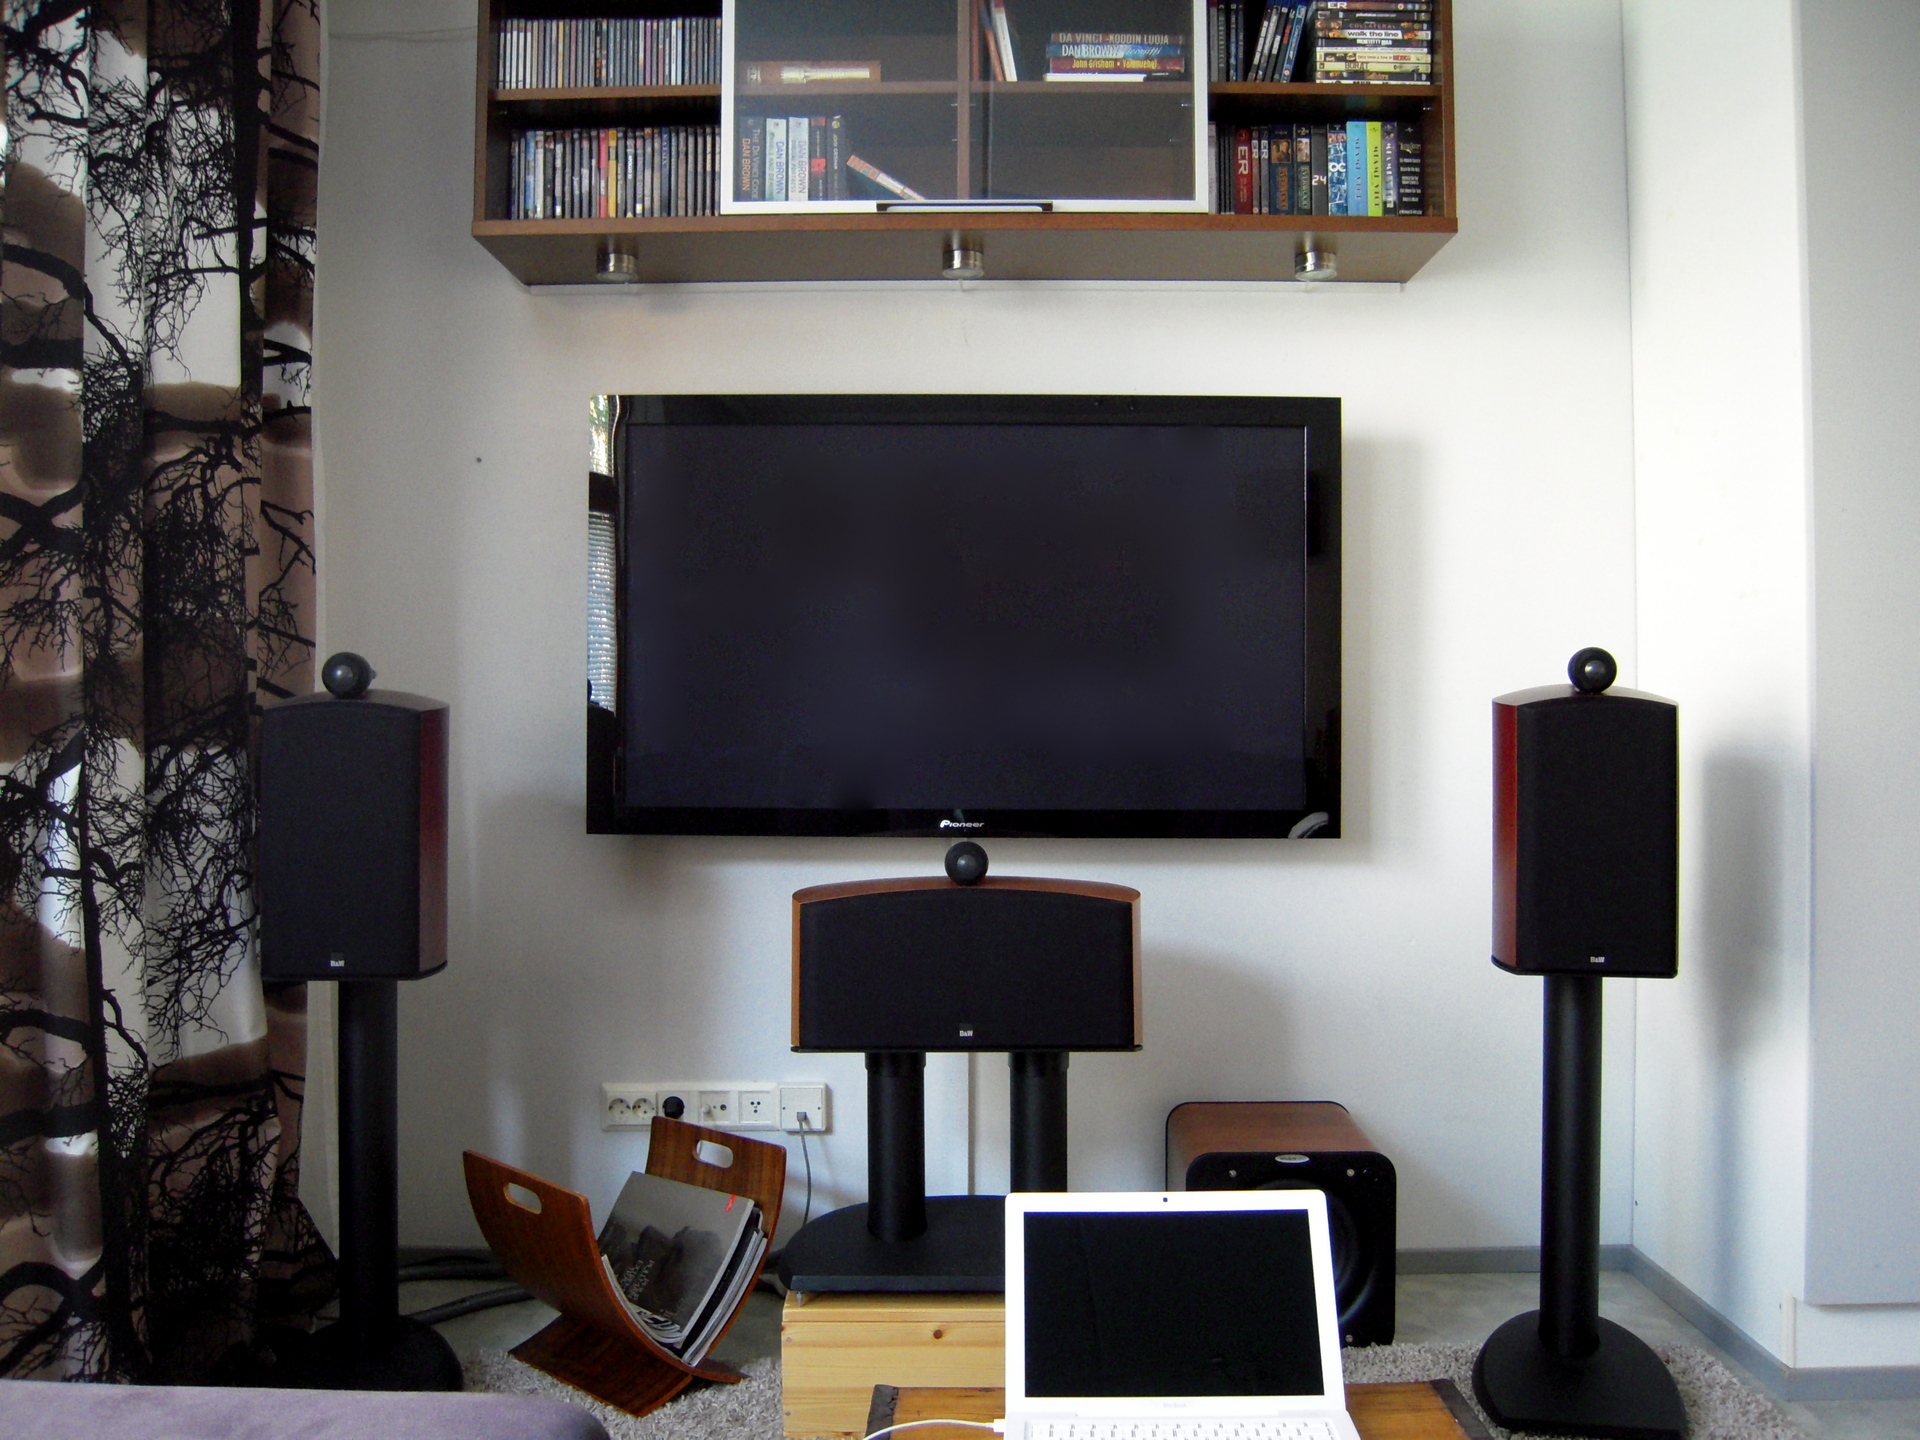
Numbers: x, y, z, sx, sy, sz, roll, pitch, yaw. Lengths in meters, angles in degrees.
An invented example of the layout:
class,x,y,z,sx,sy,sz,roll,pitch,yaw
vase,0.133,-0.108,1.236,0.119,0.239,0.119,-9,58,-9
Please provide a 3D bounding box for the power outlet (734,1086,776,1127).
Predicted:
class,x,y,z,sx,sy,sz,roll,pitch,yaw
power outlet,-0.446,0.851,4.197,0.112,0.128,0.066,0,-3,-1

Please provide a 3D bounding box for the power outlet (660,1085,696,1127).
class,x,y,z,sx,sy,sz,roll,pitch,yaw
power outlet,-0.620,0.842,4.207,0.085,0.098,0.048,1,-3,-6

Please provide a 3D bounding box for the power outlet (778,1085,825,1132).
class,x,y,z,sx,sy,sz,roll,pitch,yaw
power outlet,-0.350,0.847,4.193,0.083,0.095,0.049,1,3,1

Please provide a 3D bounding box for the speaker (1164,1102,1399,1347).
class,x,y,z,sx,sy,sz,roll,pitch,yaw
speaker,0.694,1.002,3.887,0.327,0.359,0.488,-1,-1,0

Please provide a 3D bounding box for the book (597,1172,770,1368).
class,x,y,z,sx,sy,sz,roll,pitch,yaw
book,-0.569,1.119,3.873,0.307,0.347,0.074,23,1,44

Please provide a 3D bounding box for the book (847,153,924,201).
class,x,y,z,sx,sy,sz,roll,pitch,yaw
book,-0.159,-1.135,3.944,0.121,0.030,0.022,36,36,-3

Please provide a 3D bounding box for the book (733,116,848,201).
class,x,y,z,sx,sy,sz,roll,pitch,yaw
book,-0.340,-1.178,3.893,0.182,0.200,0.047,-2,3,0

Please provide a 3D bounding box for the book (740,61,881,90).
class,x,y,z,sx,sy,sz,roll,pitch,yaw
book,-0.299,-1.351,3.940,0.269,0.078,0.044,1,6,-1

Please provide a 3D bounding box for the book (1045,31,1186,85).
class,x,y,z,sx,sy,sz,roll,pitch,yaw
book,0.328,-1.387,3.945,0.293,0.105,0.023,0,4,1

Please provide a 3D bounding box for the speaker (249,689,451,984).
class,x,y,z,sx,sy,sz,roll,pitch,yaw
speaker,-1.173,0.214,3.640,0.336,0.530,0.140,0,4,-2
